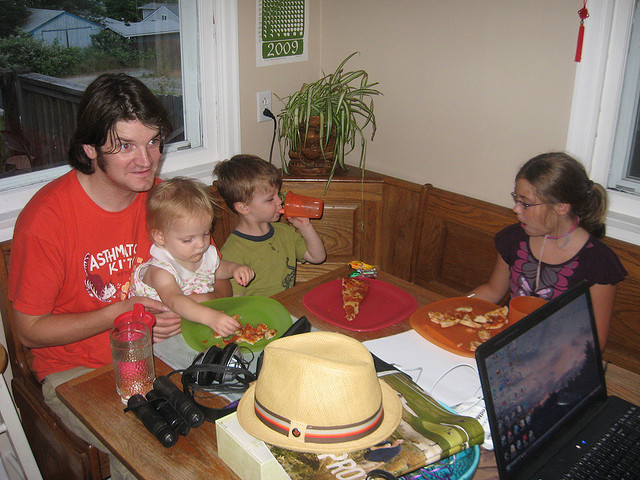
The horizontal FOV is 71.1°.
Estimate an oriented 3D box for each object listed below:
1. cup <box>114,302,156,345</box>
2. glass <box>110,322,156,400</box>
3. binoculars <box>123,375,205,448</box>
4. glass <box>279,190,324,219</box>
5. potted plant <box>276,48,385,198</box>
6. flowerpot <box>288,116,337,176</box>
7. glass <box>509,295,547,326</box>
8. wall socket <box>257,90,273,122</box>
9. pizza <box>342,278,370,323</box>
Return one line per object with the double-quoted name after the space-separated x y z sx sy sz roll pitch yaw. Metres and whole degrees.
-0.551 0.248 1.363 0.194 0.113 0.272 4 -11 -27 "cup"
-0.511 0.346 1.208 0.104 0.173 0.103 -4 -1 -33 "glass"
-0.392 0.431 1.132 0.169 0.068 0.128 27 36 24 "binoculars"
-0.063 -0.140 1.920 0.151 0.122 0.122 -2 26 5 "glass"
0.029 -0.683 2.560 0.506 0.616 0.637 6 8 -36 "potted plant"
-0.042 -0.462 2.596 0.274 0.301 0.280 0 -22 -3 "flowerpot"
0.634 0.208 1.391 0.098 0.094 0.131 -1 11 2 "glass"
-0.320 -0.790 2.630 0.022 0.174 0.110 15 26 36 "wall socket"
0.127 0.211 1.624 0.106 0.041 0.240 5 30 4 "pizza"
